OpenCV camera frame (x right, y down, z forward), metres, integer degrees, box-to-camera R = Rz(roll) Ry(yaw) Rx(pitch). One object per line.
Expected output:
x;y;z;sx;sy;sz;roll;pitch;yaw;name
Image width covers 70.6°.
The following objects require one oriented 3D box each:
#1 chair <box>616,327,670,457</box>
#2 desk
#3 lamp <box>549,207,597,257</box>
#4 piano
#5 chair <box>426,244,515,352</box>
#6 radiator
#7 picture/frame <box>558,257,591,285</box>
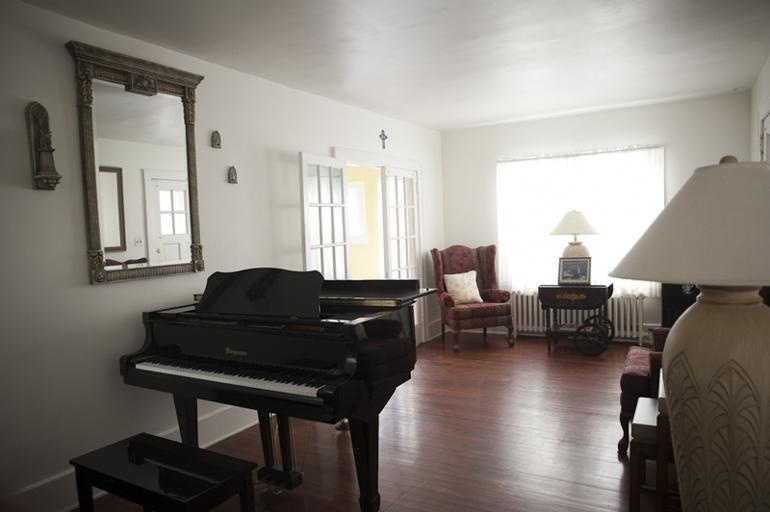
2.150;1.147;4.531;0.430;0.644;1.245;1;1;27;chair
2.681;0.856;7.573;1.001;0.921;0.674;0;4;20;desk
2.553;-0.309;7.494;0.647;0.724;0.642;-1;-6;10;lamp
-0.596;0.740;4.862;1.958;1.659;2.009;-1;-1;21;piano
1.277;0.554;8.011;1.070;1.423;1.178;-4;3;-19;chair
2.428;0.903;7.969;0.074;0.702;1.615;7;-5;-31;radiator
2.610;0.200;7.414;0.366;0.370;0.049;1;-6;24;picture/frame
